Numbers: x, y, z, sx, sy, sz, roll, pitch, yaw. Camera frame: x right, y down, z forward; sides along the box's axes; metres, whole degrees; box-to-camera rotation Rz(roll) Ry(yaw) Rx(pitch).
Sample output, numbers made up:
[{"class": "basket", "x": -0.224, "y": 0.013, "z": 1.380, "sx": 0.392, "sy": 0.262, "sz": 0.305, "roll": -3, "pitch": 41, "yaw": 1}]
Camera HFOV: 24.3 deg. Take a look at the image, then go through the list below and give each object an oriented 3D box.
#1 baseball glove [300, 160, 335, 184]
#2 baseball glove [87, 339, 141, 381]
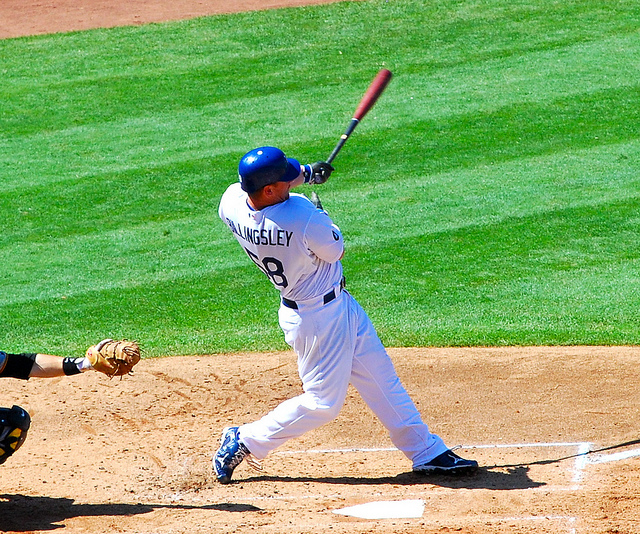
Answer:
[{"class": "baseball glove", "x": -0.024, "y": -0.847, "z": 13.566, "sx": 0.271, "sy": 0.174, "sz": 0.125, "roll": 1, "pitch": -24, "yaw": -1}, {"class": "baseball glove", "x": -1.787, "y": 0.757, "z": 12.897, "sx": 0.422, "sy": 0.214, "sz": 0.468, "roll": -28, "pitch": 29, "yaw": -17}]
